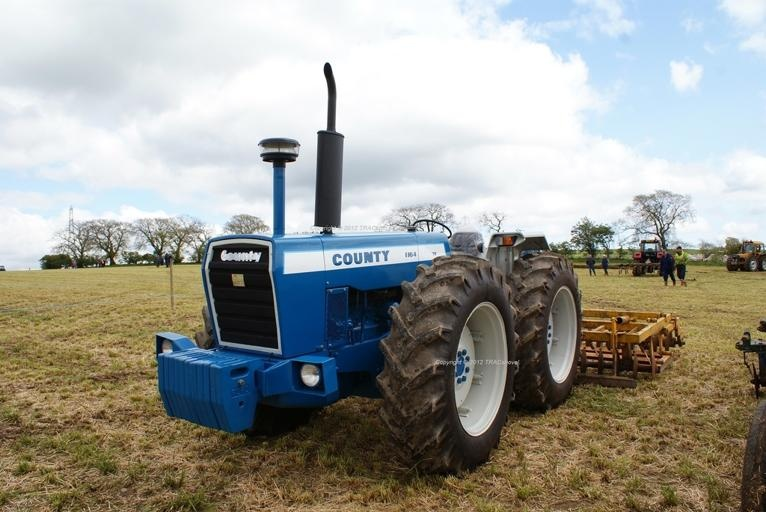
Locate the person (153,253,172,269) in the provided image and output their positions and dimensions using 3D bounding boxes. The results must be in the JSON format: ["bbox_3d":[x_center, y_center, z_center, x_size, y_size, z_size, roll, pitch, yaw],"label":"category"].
[{"bbox_3d":[-18.335,0.412,41.286,1.943,1.004,1.537,2,4,35],"label":"person"}]

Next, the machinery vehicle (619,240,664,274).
[{"bbox_3d":[16.097,0.115,30.881,2.397,2.686,4.920,3,5,31],"label":"machinery vehicle"}]

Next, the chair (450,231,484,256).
[{"bbox_3d":[1.040,-0.207,6.182,0.421,0.384,0.307,-14,14,-37],"label":"chair"}]
